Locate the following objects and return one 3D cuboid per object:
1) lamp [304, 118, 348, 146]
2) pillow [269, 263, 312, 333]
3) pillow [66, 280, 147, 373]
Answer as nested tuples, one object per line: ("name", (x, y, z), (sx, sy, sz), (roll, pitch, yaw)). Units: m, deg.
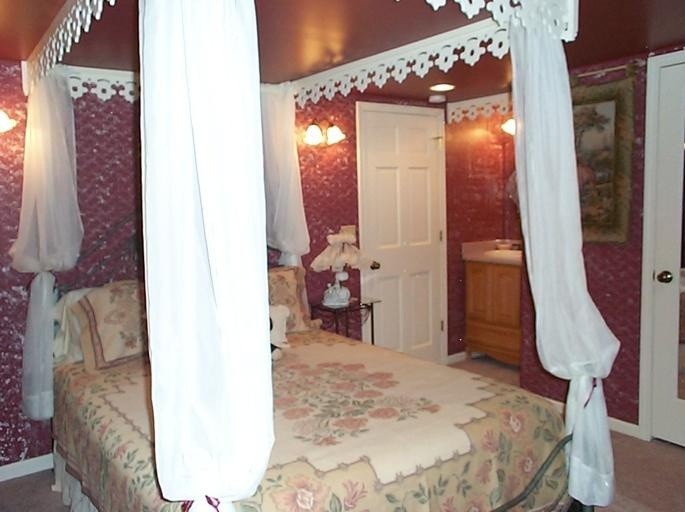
("lamp", (-0.134, -1.018, 4.913), (0.415, 0.214, 0.254), (-7, 14, -20))
("pillow", (-0.405, 0.319, 4.463), (0.122, 0.445, 0.413), (-9, -6, 36))
("pillow", (-1.494, 0.446, 3.830), (0.505, 0.551, 0.139), (-7, -13, -39))
